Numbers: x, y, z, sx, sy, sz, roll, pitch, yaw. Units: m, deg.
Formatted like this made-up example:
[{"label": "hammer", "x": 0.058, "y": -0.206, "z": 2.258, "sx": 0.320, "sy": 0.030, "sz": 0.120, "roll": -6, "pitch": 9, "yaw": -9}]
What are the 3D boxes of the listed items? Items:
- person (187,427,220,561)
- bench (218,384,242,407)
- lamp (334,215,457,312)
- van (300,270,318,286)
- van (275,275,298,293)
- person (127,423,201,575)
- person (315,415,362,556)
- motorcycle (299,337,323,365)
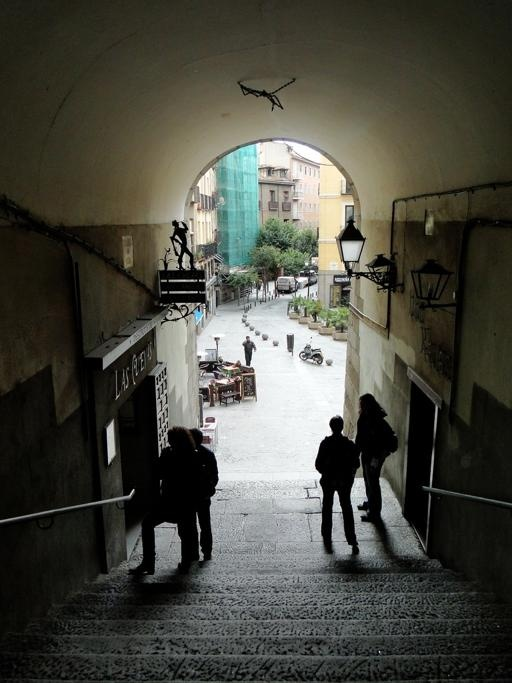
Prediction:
[{"label": "person", "x": -0.486, "y": 1.359, "z": 4.274, "sx": 0.298, "sy": 1.268, "sz": 0.312, "roll": 1, "pitch": 12, "yaw": 3}, {"label": "bench", "x": -0.844, "y": 1.630, "z": 15.477, "sx": 0.732, "sy": 0.631, "sz": 0.481, "roll": -9, "pitch": 10, "yaw": -44}, {"label": "lamp", "x": 1.703, "y": -0.763, "z": 5.883, "sx": 0.481, "sy": 0.949, "sz": 1.810, "roll": -8, "pitch": 30, "yaw": -26}, {"label": "van", "x": 5.957, "y": -7.226, "z": 56.891, "sx": 1.726, "sy": 1.878, "sz": 4.513, "roll": 0, "pitch": 7, "yaw": 7}, {"label": "van", "x": 3.033, "y": -5.629, "z": 50.294, "sx": 1.903, "sy": 1.678, "sz": 2.260, "roll": -1, "pitch": 8, "yaw": 1}, {"label": "person", "x": -0.750, "y": 1.318, "z": 4.232, "sx": 0.442, "sy": 1.613, "sz": 0.374, "roll": 4, "pitch": 18, "yaw": -12}, {"label": "person", "x": 0.800, "y": 1.442, "z": 4.908, "sx": 0.383, "sy": 1.466, "sz": 0.469, "roll": 1, "pitch": 6, "yaw": 14}, {"label": "motorcycle", "x": 2.401, "y": 0.585, "z": 20.965, "sx": 1.059, "sy": 0.903, "sz": 0.562, "roll": 26, "pitch": 17, "yaw": 40}]
